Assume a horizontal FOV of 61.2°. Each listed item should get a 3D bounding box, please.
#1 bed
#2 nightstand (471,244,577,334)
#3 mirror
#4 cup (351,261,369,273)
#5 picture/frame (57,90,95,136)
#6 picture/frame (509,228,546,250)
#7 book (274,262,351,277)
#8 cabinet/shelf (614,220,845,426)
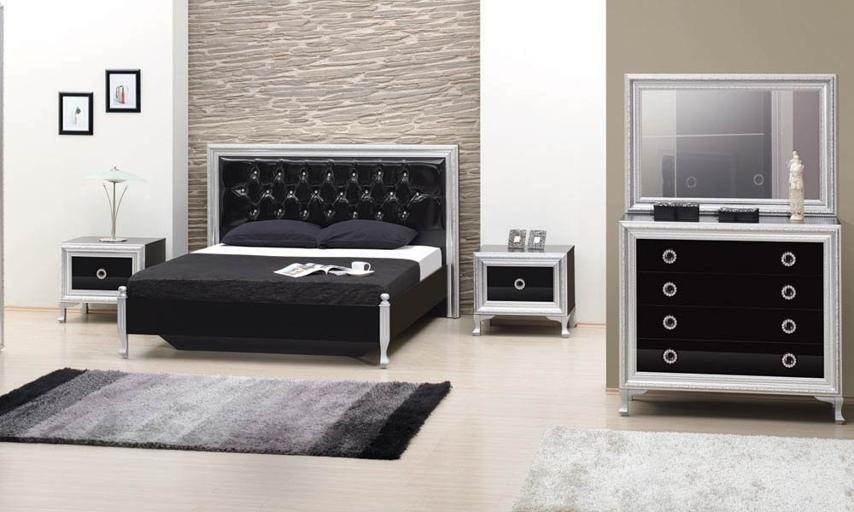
[{"bbox_3d":[-1.016,-0.073,6.196,2.618,1.394,2.275,1,3,11],"label":"bed"},{"bbox_3d":[0.880,0.236,6.614,1.123,0.728,0.808,0,2,11],"label":"nightstand"},{"bbox_3d":[2.072,-0.751,4.757,1.319,0.709,0.051,0,2,10],"label":"mirror"},{"bbox_3d":[-0.531,0.091,5.643,0.146,0.070,0.081,1,1,3],"label":"cup"},{"bbox_3d":[-3.445,-1.401,7.005,0.574,0.525,0.048,1,6,4],"label":"picture/frame"},{"bbox_3d":[0.903,-0.147,6.459,0.262,0.121,0.019,1,-11,12],"label":"picture/frame"},{"bbox_3d":[-0.919,0.104,5.617,0.561,0.050,0.268,-3,12,-14],"label":"book"},{"bbox_3d":[1.894,0.375,4.457,1.667,1.170,0.605,0,0,10],"label":"cabinet/shelf"}]
